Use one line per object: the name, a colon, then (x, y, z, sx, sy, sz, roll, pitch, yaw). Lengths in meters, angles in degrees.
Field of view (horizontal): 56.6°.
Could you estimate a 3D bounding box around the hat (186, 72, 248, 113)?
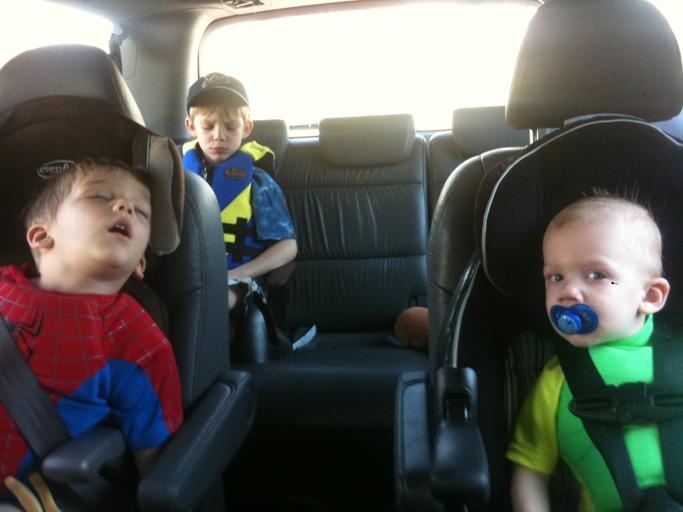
hat: (-0.430, -0.562, 2.296, 0.173, 0.138, 0.293, -1, -2, -8)
